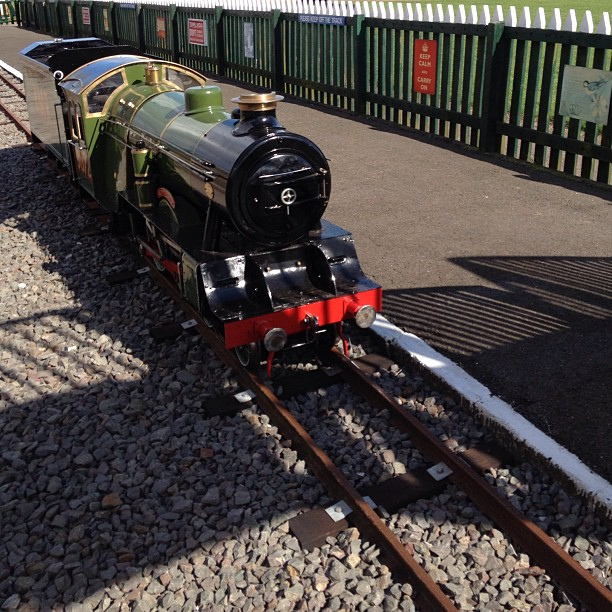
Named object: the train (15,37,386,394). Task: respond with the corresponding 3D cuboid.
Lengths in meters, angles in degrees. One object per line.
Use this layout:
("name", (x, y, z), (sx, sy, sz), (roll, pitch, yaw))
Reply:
("train", (-1.425, -1.754, 6.092), (2.303, 2.297, 6.665), (-27, 46, -30))

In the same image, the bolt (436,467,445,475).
("bolt", (0.835, 1.018, 3.162), (0.044, 0.016, 0.055), (22, 31, 38))

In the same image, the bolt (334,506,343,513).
("bolt", (0.188, 1.147, 2.889), (0.042, 0.010, 0.040), (19, 30, 36))

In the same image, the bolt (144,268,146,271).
("bolt", (-1.852, -0.414, 5.888), (0.021, 0.020, 0.054), (-5, 25, -12))

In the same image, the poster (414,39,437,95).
("poster", (2.391, -4.764, 10.154), (0.139, 1.146, 0.909), (-21, 36, -21))

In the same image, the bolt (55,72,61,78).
("bolt", (-3.507, -3.255, 7.243), (0.073, 0.070, 0.078), (-12, 29, -25))

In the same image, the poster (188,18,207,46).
("poster", (-3.661, -9.236, 17.312), (0.202, 0.819, 1.387), (-14, 29, -26))
